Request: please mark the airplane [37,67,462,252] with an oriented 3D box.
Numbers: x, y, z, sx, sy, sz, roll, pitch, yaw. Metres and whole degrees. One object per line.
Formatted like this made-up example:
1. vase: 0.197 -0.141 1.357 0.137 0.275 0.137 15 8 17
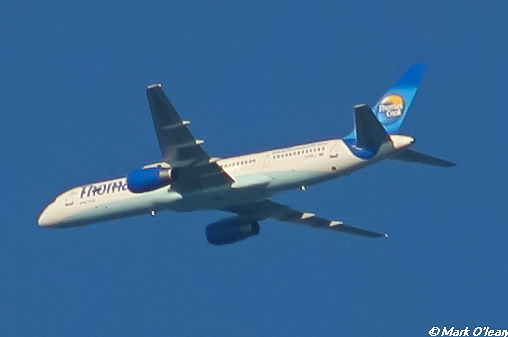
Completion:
1. airplane: -0.988 0.082 38.262 12.301 3.008 8.865 -8 -33 21
